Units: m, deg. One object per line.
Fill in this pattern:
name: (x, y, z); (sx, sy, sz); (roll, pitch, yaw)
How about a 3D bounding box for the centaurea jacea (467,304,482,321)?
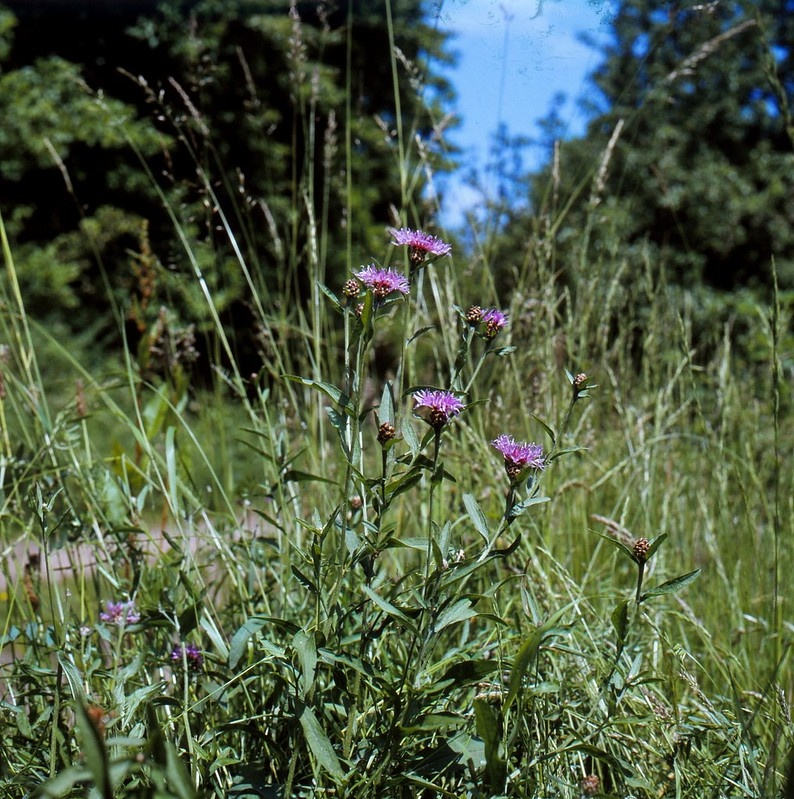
centaurea jacea: (0.146, -0.155, 1.993); (0.028, 0.021, 0.038); (-3, 52, 20)
